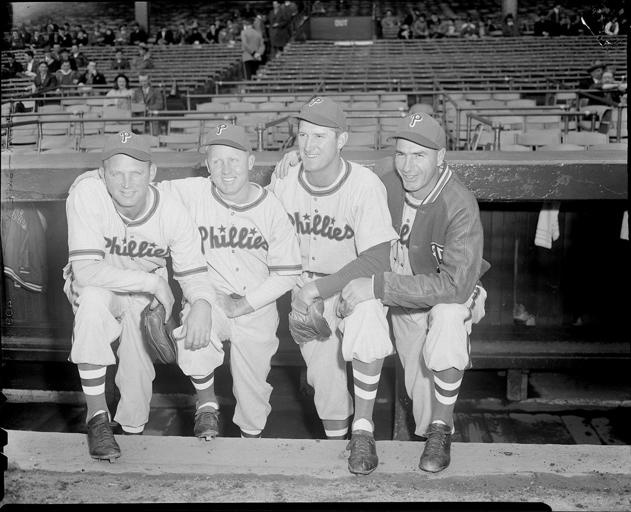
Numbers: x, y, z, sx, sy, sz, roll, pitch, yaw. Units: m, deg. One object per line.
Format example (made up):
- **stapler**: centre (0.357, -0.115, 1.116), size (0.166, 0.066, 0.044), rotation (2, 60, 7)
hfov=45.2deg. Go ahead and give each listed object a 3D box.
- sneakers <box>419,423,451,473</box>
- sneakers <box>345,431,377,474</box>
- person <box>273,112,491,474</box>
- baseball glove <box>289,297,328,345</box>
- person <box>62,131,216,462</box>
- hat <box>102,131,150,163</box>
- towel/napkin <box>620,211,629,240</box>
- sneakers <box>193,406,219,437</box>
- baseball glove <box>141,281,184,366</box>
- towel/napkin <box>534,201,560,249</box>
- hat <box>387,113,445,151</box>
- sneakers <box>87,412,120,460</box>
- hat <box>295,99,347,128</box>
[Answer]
- **sneakers**: centre (0.709, 1.026, 4.106), size (0.158, 0.219, 0.232), rotation (3, 12, 21)
- **sneakers**: centre (0.293, 1.039, 4.102), size (0.171, 0.200, 0.245), rotation (-1, 11, 2)
- **person**: centre (0.664, 0.182, 4.419), size (0.793, 2.003, 1.104), rotation (2, 11, 14)
- **baseball glove**: centre (-0.016, 0.412, 4.505), size (0.267, 0.271, 0.208), rotation (1, -21, 0)
- **person**: centre (-1.056, 0.203, 4.450), size (0.856, 1.835, 0.840), rotation (-5, 11, -20)
- **hat**: centre (-1.096, -0.631, 4.347), size (0.177, 0.126, 0.239), rotation (0, 10, -6)
- **towel/napkin**: centre (2.952, -0.264, 6.827), size (0.059, 0.327, 0.607), rotation (3, 12, 22)
- **sneakers**: centre (-0.634, 0.969, 4.424), size (0.148, 0.177, 0.288), rotation (-3, 11, -11)
- **baseball glove**: centre (-0.966, 0.413, 4.501), size (0.182, 0.502, 0.210), rotation (-1, 13, 18)
- **towel/napkin**: centre (2.294, -0.272, 7.034), size (0.232, 0.478, 0.469), rotation (2, 11, 17)
- **hat**: centre (0.694, -0.711, 4.463), size (0.203, 0.144, 0.282), rotation (23, 17, 31)
- **sneakers**: centre (-1.184, 0.977, 4.138), size (0.174, 0.228, 0.238), rotation (-5, 11, -19)
- **hat**: centre (0.078, -0.837, 4.501), size (0.186, 0.126, 0.248), rotation (23, 8, 34)
